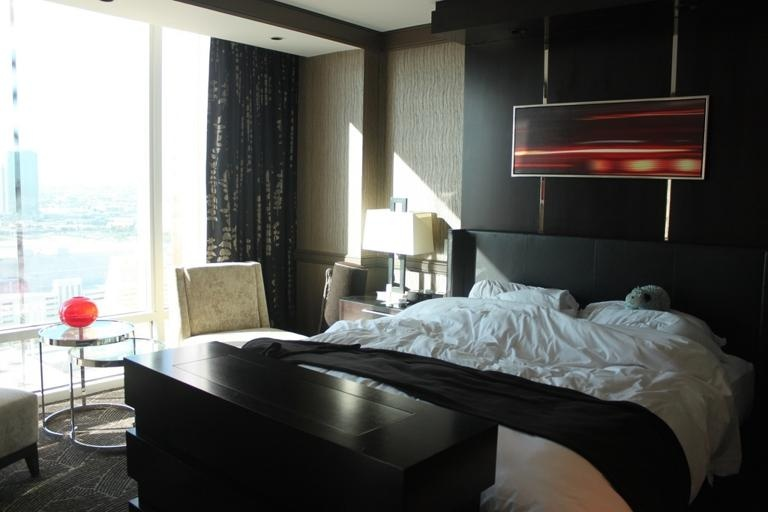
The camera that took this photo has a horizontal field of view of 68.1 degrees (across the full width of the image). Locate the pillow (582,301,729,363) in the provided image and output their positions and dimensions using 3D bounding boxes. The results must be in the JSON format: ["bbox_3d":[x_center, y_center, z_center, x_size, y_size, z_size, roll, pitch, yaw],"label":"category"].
[{"bbox_3d":[1.909,0.521,4.102,0.993,0.287,0.533,8,16,28],"label":"pillow"}]

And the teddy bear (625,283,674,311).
[{"bbox_3d":[1.939,0.292,4.137,0.261,0.158,0.173,2,-1,-2],"label":"teddy bear"}]
